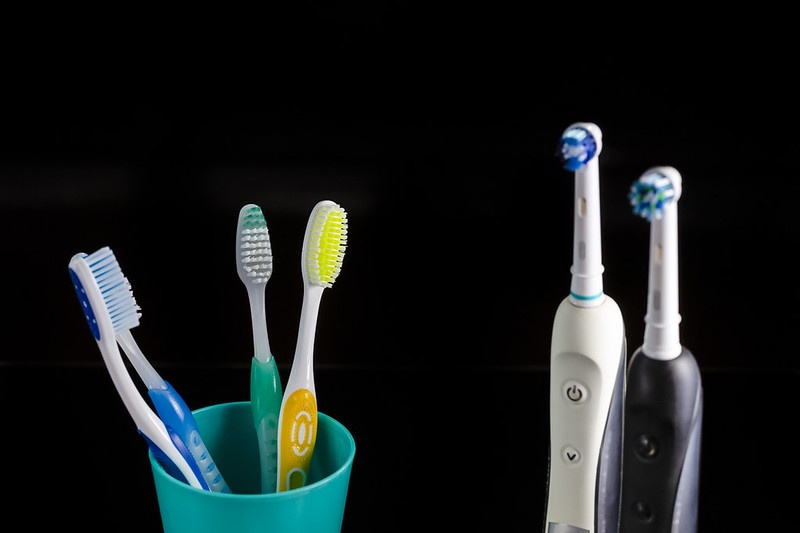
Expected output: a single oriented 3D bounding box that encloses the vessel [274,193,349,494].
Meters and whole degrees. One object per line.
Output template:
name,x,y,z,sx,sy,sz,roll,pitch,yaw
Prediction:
vessel,-0.110,0.104,1.156,0.066,0.459,0.074,7,3,-31
